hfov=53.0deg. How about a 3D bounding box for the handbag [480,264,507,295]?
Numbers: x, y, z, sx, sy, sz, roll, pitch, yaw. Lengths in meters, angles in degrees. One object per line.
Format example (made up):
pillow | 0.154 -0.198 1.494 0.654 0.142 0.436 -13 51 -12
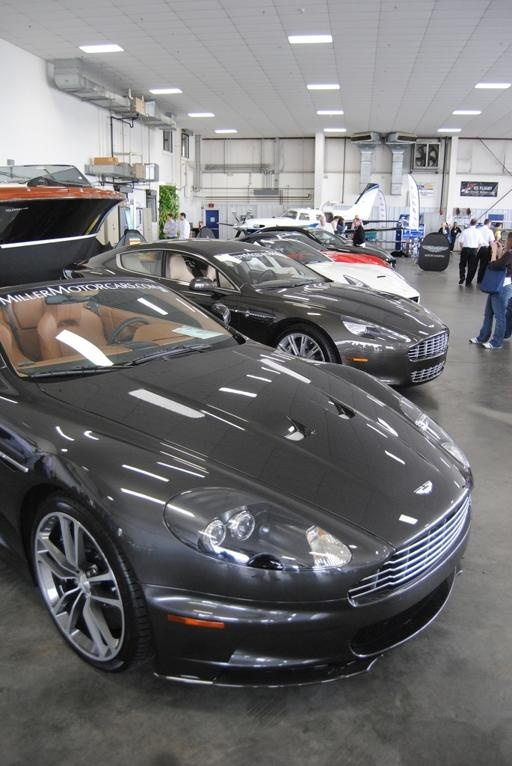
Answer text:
handbag | 2.859 -1.237 6.204 0.285 0.346 0.203 3 9 20
